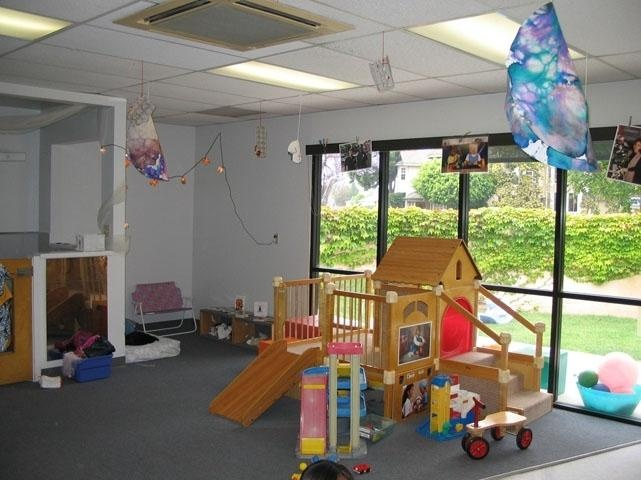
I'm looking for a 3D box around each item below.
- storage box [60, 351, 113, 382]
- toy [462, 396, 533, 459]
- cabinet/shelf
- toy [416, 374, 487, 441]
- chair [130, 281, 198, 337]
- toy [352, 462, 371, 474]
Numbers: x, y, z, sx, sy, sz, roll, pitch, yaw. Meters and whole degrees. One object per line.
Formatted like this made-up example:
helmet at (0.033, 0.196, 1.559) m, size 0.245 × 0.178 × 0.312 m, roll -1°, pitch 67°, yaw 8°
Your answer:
storage box at (-2.987, 1.583, 6.695) m, size 0.364 × 0.258 × 0.467 m, roll 6°, pitch 7°, yaw 42°
toy at (1.631, 1.748, 5.037) m, size 0.706 × 0.531 × 0.413 m, roll -3°, pitch 4°, yaw -31°
cabinet/shelf at (-1.387, 1.396, 8.618) m, size 1.515 × 0.515 × 0.470 m, roll 6°, pitch 8°, yaw 39°
toy at (1.320, 1.702, 5.462) m, size 0.620 × 0.599 × 0.468 m, roll 2°, pitch -5°, yaw -43°
chair at (-2.622, 1.130, 8.775) m, size 0.956 × 0.801 × 0.655 m, roll -1°, pitch 2°, yaw -37°
toy at (0.360, 1.985, 4.593) m, size 0.158 × 0.048 × 0.196 m, roll 1°, pitch 6°, yaw 5°
